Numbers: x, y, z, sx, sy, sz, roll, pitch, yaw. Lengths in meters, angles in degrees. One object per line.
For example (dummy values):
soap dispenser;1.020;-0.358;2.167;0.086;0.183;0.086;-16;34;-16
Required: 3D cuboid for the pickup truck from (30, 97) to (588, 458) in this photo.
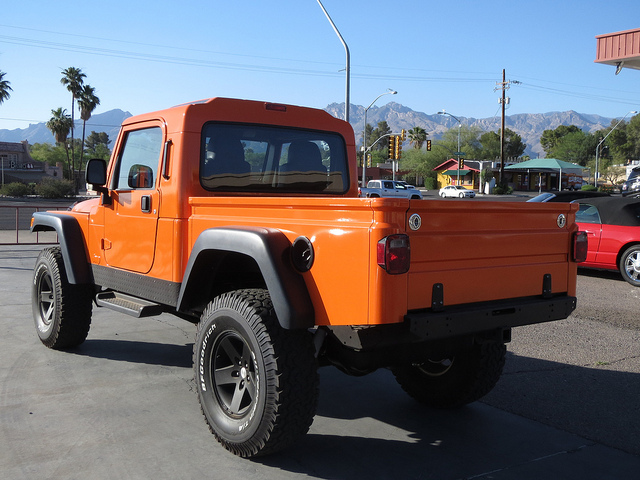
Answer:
pickup truck;-0.847;0.078;5.676;5.754;2.820;3.097;7;9;41
